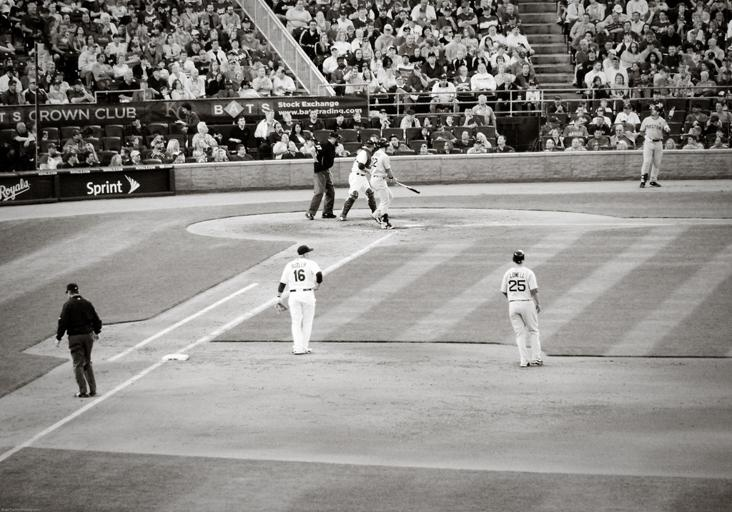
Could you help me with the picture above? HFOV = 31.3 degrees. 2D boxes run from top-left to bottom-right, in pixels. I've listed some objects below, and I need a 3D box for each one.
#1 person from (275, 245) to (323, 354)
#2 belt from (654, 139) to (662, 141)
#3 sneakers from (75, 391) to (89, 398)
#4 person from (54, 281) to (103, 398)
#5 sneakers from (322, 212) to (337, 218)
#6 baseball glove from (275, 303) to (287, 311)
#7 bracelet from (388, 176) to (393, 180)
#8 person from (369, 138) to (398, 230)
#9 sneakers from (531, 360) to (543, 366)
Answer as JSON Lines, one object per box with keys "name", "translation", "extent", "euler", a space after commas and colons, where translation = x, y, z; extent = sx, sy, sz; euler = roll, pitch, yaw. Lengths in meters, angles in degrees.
{"name": "person", "translation": [-1.606, 1.266, 32.314], "extent": [1.080, 2.332, 0.670], "euler": [-5, 15, -15]}
{"name": "belt", "translation": [10.022, -3.957, 44.755], "extent": [0.221, 0.076, 0.055], "euler": [-3, 14, -13]}
{"name": "sneakers", "translation": [-6.555, 3.232, 30.395], "extent": [0.222, 0.067, 0.139], "euler": [-1, 4, 16]}
{"name": "person", "translation": [-6.625, 1.955, 30.425], "extent": [0.983, 2.624, 1.009], "euler": [-4, 14, -11]}
{"name": "sneakers", "translation": [-1.145, -1.297, 42.351], "extent": [0.475, 0.166, 0.142], "euler": [-1, 9, -7]}
{"name": "baseball glove", "translation": [-2.117, 1.307, 33.008], "extent": [0.244, 0.144, 0.256], "euler": [-38, -19, -4]}
{"name": "bracelet", "translation": [0.815, -2.387, 40.160], "extent": [0.112, 0.097, 0.110], "euler": [27, 17, 22]}
{"name": "person", "translation": [0.527, -2.246, 40.694], "extent": [0.735, 2.729, 1.140], "euler": [-1, 14, 1]}
{"name": "sneakers", "translation": [4.136, 2.580, 31.375], "extent": [0.304, 0.096, 0.116], "euler": [0, 54, -11]}
